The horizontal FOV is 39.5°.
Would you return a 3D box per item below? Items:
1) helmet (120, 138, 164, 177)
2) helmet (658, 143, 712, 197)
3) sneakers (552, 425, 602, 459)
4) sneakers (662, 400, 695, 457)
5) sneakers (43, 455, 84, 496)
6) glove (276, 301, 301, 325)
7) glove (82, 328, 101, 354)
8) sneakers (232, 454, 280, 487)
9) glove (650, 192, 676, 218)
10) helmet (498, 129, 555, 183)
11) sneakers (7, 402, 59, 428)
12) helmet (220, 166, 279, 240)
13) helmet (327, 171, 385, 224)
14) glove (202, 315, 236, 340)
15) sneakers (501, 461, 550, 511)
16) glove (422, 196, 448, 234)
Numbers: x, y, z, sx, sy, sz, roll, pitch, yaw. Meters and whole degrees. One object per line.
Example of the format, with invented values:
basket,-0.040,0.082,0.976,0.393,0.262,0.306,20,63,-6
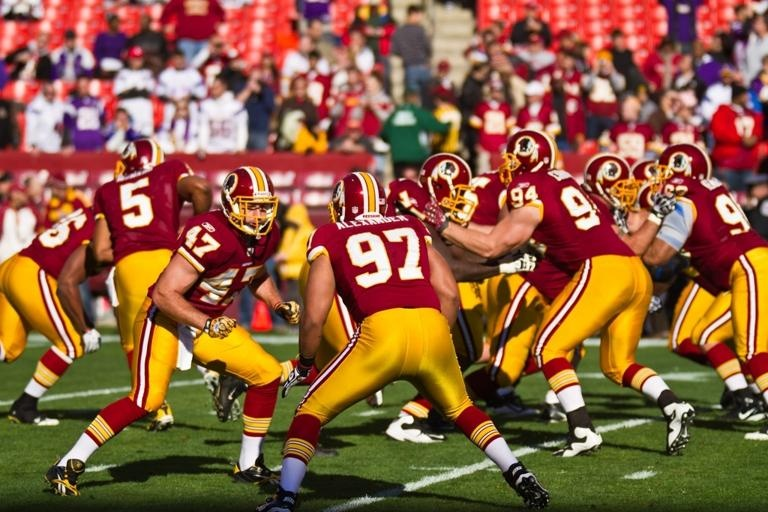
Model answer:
helmet,-2.188,-0.901,9.678,0.405,0.326,0.422,-2,5,-13
helmet,2.841,-0.848,10.151,0.554,0.482,0.422,6,3,3
sneakers,1.669,1.582,9.034,0.489,0.227,0.167,-21,7,39
sneakers,2.505,1.445,9.151,0.285,0.548,0.184,13,1,5
sneakers,-2.491,1.710,8.376,0.287,0.299,0.275,-2,5,-18
glove,-0.764,0.449,8.557,0.200,0.151,0.102,-3,-9,19
glove,-2.670,0.749,9.807,0.157,0.230,0.390,-2,5,-16
sneakers,-1.005,1.762,8.720,0.466,0.215,0.162,1,-2,-5
glove,2.429,-0.446,9.290,0.175,0.207,0.096,15,-8,36
helmet,1.345,-0.916,9.789,0.561,0.550,0.457,-5,8,24
sneakers,-3.425,1.538,10.454,0.563,0.226,0.199,5,-3,-6
helmet,-1.068,-0.494,8.590,0.524,0.439,0.434,28,27,27
helmet,-0.163,-0.458,8.307,0.370,0.429,0.473,-4,5,-13
glove,-1.252,0.538,8.213,0.251,0.165,0.178,-1,5,-8
sneakers,1.041,1.664,7.860,0.236,0.401,0.171,-42,-6,-5
glove,0.415,-0.328,8.517,0.216,0.214,0.092,41,-32,-20
